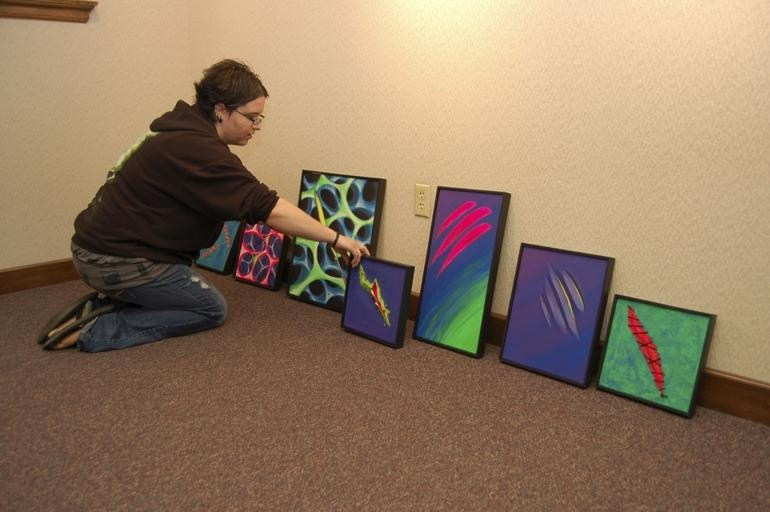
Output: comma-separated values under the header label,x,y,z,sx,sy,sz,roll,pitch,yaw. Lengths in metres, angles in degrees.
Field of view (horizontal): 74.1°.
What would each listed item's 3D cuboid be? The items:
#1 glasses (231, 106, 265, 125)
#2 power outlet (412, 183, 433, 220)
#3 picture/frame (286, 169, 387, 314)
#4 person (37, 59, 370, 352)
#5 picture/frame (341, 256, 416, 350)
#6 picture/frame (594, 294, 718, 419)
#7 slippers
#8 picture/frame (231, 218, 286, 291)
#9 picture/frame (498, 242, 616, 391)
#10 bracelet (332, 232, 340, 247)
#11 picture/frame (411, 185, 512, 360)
label,x,y,z,sx,sy,sz,roll,pitch,yaw
glasses,-0.656,-0.650,2.441,0.146,0.065,0.055,-4,15,-44
power outlet,0.207,-0.292,2.774,0.157,0.269,0.045,11,15,40
picture/frame,-0.247,-0.060,2.847,0.667,0.923,0.114,12,8,34
person,-0.950,-0.193,2.810,1.427,1.222,1.475,-5,31,-31
picture/frame,-0.050,0.226,2.690,0.429,0.428,0.057,11,7,43
picture/frame,1.203,0.449,2.217,0.408,0.475,0.064,14,-6,30
slippers,-1.523,0.320,2.545,0.327,0.099,0.222,-45,14,-20
picture/frame,-0.769,0.011,3.132,0.331,0.402,0.055,17,8,29
picture/frame,0.826,0.303,2.379,0.537,0.758,0.076,10,-4,39
bracelet,-0.240,-0.071,2.494,0.028,0.060,0.051,13,-17,-2
picture/frame,0.376,0.070,2.584,0.365,0.795,0.209,10,12,19
